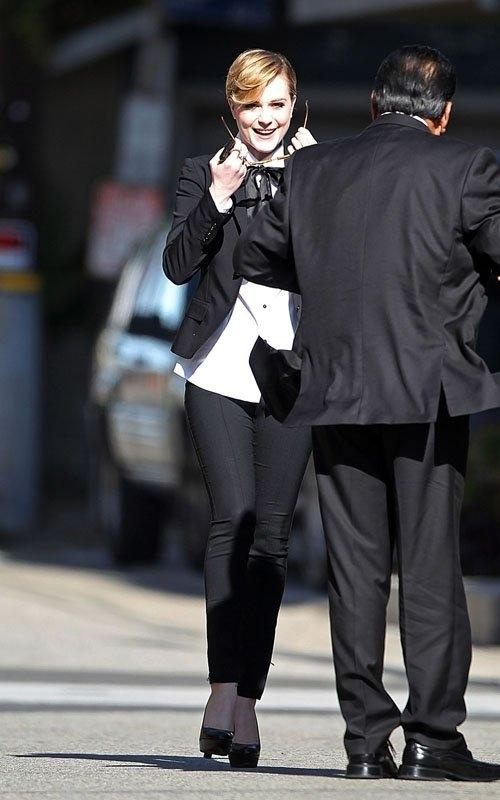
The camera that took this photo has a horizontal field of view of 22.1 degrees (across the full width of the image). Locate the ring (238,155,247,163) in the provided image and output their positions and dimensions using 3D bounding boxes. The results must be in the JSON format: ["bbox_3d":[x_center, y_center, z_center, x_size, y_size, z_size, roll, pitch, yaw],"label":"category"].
[{"bbox_3d":[-0.018,-0.627,3.347,0.023,0.005,0.022,19,48,-23],"label":"ring"}]

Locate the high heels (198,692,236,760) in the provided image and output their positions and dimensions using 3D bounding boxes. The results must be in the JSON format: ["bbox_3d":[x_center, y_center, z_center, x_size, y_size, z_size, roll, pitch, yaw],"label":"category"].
[{"bbox_3d":[-0.087,0.870,3.475,0.073,0.199,0.084,2,-3,-2],"label":"high heels"}]

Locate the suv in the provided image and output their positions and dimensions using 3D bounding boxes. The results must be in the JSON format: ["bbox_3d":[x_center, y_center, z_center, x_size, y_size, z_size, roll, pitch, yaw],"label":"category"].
[{"bbox_3d":[-0.258,0.198,9.243,1.375,1.366,2.746,0,1,2],"label":"suv"}]

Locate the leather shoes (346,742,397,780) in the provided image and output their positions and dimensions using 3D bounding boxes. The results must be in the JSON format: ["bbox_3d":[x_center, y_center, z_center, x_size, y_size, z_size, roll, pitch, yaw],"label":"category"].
[{"bbox_3d":[0.290,0.853,3.027,0.062,0.058,0.146,0,-2,24],"label":"leather shoes"}]
